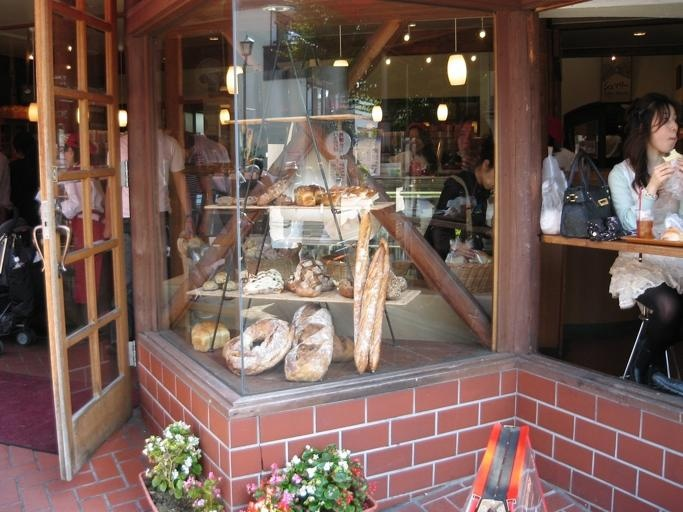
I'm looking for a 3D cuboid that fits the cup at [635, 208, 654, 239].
[{"bbox_3d":[1.503,-0.160,2.768,0.063,0.133,0.088,3,13,21],"label":"cup"}]

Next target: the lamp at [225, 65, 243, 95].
[{"bbox_3d":[-0.518,-0.837,2.669,0.042,0.136,0.148,-10,15,-34],"label":"lamp"}]

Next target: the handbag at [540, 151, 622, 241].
[{"bbox_3d":[1.348,-0.334,3.003,0.327,0.462,0.279,5,13,27],"label":"handbag"}]

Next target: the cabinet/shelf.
[{"bbox_3d":[-0.129,-0.359,2.928,1.260,1.733,0.458,-6,12,-19],"label":"cabinet/shelf"}]

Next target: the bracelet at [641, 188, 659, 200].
[{"bbox_3d":[1.599,-0.322,2.922,0.055,0.025,0.067,12,-14,2],"label":"bracelet"}]

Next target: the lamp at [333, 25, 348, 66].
[{"bbox_3d":[-0.009,-1.055,2.813,0.082,0.209,0.071,-4,12,-12],"label":"lamp"}]

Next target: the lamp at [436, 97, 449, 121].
[{"bbox_3d":[0.549,-0.791,3.007,0.087,0.113,0.090,2,7,16],"label":"lamp"}]

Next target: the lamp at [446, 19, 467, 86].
[{"bbox_3d":[0.632,-1.111,3.046,0.096,0.359,0.157,3,13,24],"label":"lamp"}]
